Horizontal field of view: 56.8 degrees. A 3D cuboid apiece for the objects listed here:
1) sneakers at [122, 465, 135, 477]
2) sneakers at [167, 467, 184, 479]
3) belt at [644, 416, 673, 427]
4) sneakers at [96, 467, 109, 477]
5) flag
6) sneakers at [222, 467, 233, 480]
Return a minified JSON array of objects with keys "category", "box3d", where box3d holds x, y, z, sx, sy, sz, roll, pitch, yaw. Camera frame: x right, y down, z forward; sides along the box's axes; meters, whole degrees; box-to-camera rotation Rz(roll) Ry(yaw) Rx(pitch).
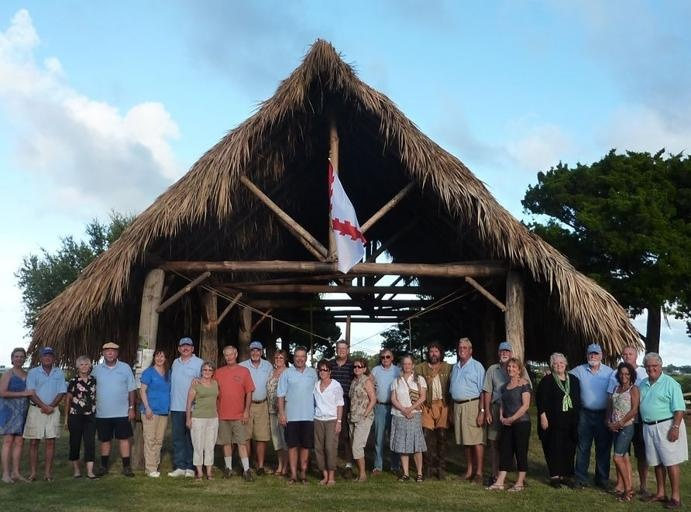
[{"category":"sneakers","box3d":[-3.696,3.651,10.877,0.099,0.146,0.293,10,-10,-37]},{"category":"sneakers","box3d":[-2.883,3.723,10.951,0.311,0.152,0.123,4,-12,3]},{"category":"belt","box3d":[4.639,2.449,9.510,0.376,0.118,0.101,-1,-5,16]},{"category":"sneakers","box3d":[-4.138,3.666,10.869,0.092,0.141,0.278,-3,-23,-1]},{"category":"flag","box3d":[0.001,-0.698,12.127,0.477,2.247,0.377,0,-3,14]},{"category":"sneakers","box3d":[-1.963,3.635,10.732,0.175,0.197,0.110,-8,-14,39]}]
